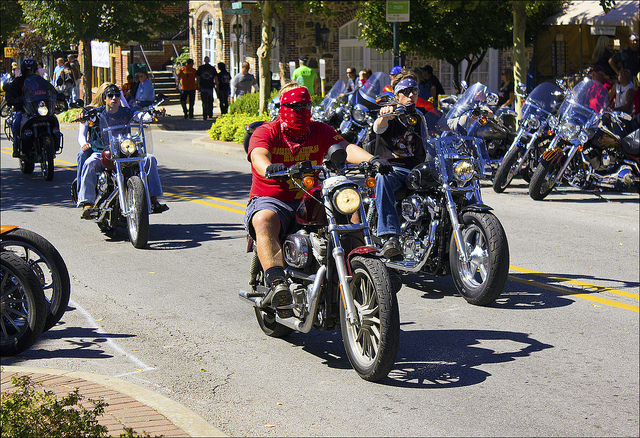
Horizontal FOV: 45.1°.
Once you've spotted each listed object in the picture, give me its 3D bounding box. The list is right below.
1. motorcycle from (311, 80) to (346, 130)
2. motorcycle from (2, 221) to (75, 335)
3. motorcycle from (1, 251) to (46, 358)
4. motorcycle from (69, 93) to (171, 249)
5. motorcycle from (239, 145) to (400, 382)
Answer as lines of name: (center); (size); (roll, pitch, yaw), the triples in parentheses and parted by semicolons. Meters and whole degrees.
motorcycle: (0.206, -2.851, 19.425); (0.792, 1.206, 0.808); (0, 12, 0)
motorcycle: (-3.235, 0.716, 8.772); (0.213, 1.056, 1.008); (-11, 3, -42)
motorcycle: (-3.172, 0.882, 8.102); (0.484, 1.102, 0.385); (-4, 13, -14)
motorcycle: (-3.223, -0.774, 12.456); (1.361, 2.304, 1.776); (-3, 13, -14)
motorcycle: (0.079, 0.395, 7.746); (1.058, 2.227, 1.866); (-8, 15, -33)
